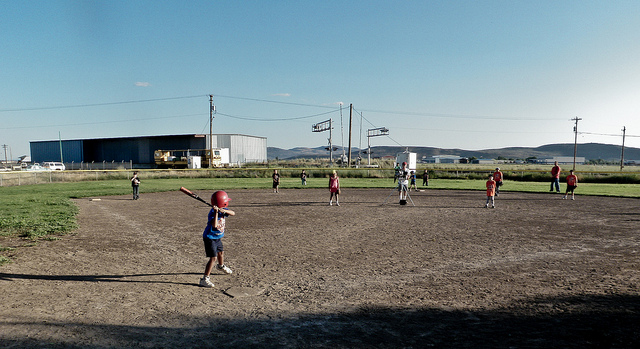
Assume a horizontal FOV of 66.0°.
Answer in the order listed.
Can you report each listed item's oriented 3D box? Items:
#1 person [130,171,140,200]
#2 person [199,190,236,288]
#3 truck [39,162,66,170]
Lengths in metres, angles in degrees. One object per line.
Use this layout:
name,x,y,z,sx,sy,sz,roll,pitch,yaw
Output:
person,-12.958,0.822,34.335,0.391,1.815,0.630,-3,9,-23
person,-3.820,2.264,17.908,1.174,3.382,1.206,-1,8,-9
truck,-42.423,-1.342,77.443,2.721,1.136,1.465,-4,10,-33
